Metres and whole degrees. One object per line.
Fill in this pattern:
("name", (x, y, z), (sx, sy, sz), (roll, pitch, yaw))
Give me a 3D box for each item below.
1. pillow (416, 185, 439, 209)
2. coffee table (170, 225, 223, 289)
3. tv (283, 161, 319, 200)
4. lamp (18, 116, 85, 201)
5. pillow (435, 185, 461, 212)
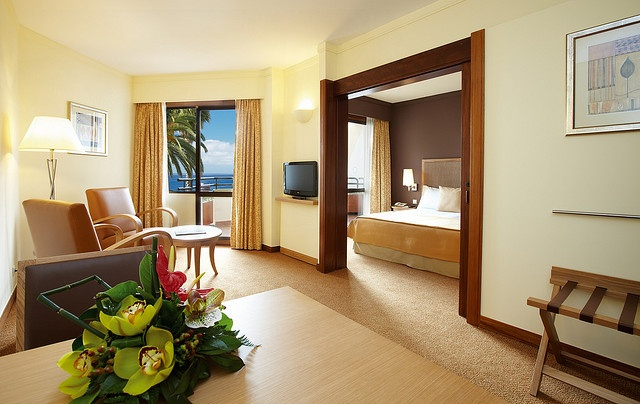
("pillow", (1.990, -0.105, 7.104), (0.127, 0.399, 0.417), (21, -6, -42))
("coffee table", (-1.666, 0.685, 5.094), (0.685, 0.629, 0.693), (1, 4, 25))
("tv", (-0.264, -0.325, 5.687), (0.077, 0.428, 0.573), (-6, 8, -39))
("lamp", (-3.181, -0.505, 4.599), (0.591, 0.949, 0.733), (-6, 8, -36))
("pillow", (2.233, -0.051, 6.738), (0.153, 0.442, 0.445), (24, -18, -37))
